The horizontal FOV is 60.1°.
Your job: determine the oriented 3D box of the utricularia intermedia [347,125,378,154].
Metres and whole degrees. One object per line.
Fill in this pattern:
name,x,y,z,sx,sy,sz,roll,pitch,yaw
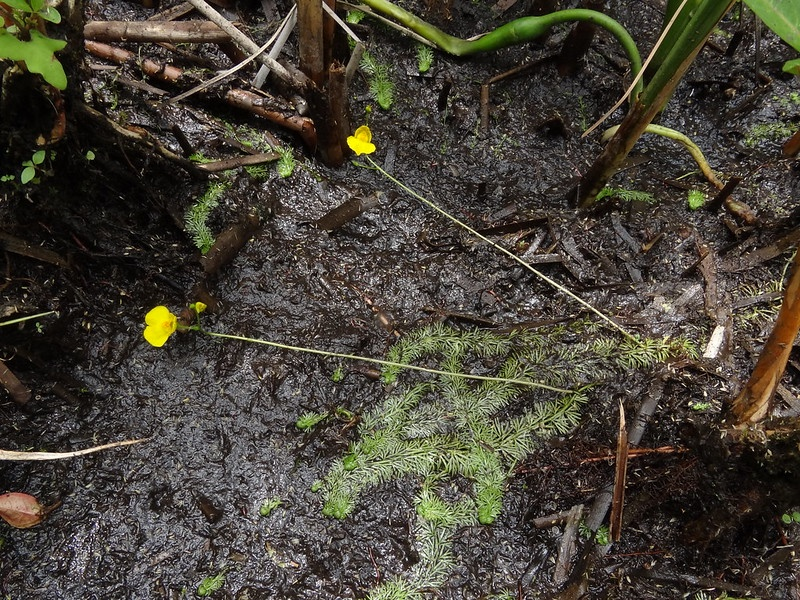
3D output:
utricularia intermedia,-0.284,-1.116,4.922,0.169,0.218,0.218,-10,77,-7
